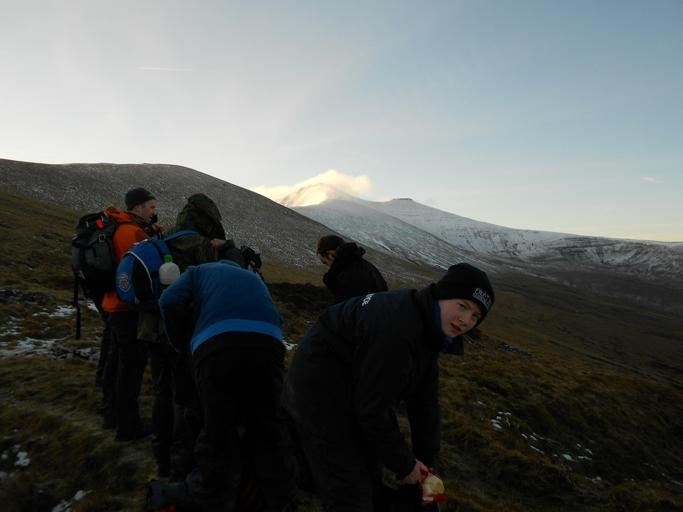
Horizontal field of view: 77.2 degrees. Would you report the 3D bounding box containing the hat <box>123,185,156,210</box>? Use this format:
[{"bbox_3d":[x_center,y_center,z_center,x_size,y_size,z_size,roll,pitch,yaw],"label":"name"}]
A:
[{"bbox_3d":[-3.700,-1.070,7.758,0.539,0.389,0.447,0,0,-12],"label":"hat"}]
